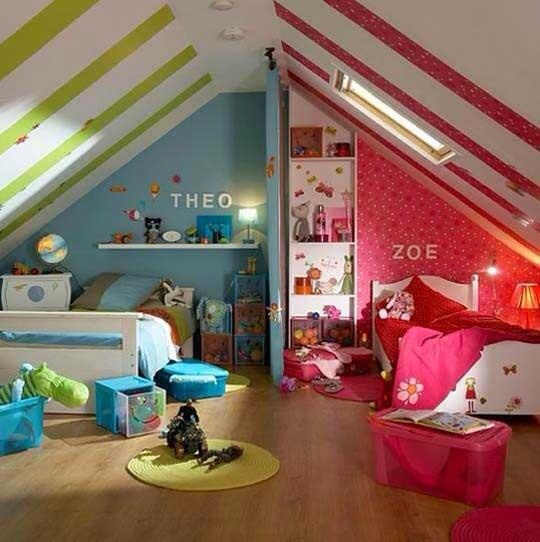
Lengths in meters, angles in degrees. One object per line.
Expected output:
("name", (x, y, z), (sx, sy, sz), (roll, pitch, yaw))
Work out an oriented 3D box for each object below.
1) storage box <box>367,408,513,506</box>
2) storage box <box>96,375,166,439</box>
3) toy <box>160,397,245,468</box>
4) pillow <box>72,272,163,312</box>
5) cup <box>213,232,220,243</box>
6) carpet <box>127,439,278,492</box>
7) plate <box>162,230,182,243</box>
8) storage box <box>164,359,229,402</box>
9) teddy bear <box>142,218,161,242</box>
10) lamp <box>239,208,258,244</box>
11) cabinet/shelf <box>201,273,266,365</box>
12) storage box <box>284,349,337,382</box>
("storage box", (0.794, 0.853, 2.227), (0.602, 0.265, 0.334), (-5, -1, 42))
("storage box", (-0.888, 0.857, 3.027), (0.314, 0.262, 0.392), (1, 1, -42))
("toy", (-0.402, 0.843, 2.549), (0.300, 0.153, 0.382), (1, 10, -3))
("pillow", (-1.474, 0.279, 4.728), (0.732, 0.172, 0.635), (1, 15, 16))
("cup", (-0.561, -0.350, 5.029), (0.094, 0.114, 0.046), (0, 0, -9))
("carpet", (-0.327, 0.994, 2.446), (0.742, 0.008, 0.756), (0, -5, 26))
("plate", (-1.057, -0.368, 5.082), (0.208, 0.133, 0.069), (0, 0, 18))
("storage box", (-0.646, 0.845, 3.777), (0.343, 0.142, 0.433), (0, 1, -27))
("teddy bear", (-1.248, -0.432, 5.068), (0.171, 0.274, 0.086), (0, 0, -11))
("lamp", (-0.231, -0.481, 5.003), (0.196, 0.393, 0.169), (0, 0, -2))
("cabinet/shelf", (-0.375, 0.483, 4.837), (0.705, 0.917, 0.343), (0, 0, -3))
("storage box", (0.293, 0.836, 4.239), (0.272, 0.109, 0.267), (-2, 6, -29))
